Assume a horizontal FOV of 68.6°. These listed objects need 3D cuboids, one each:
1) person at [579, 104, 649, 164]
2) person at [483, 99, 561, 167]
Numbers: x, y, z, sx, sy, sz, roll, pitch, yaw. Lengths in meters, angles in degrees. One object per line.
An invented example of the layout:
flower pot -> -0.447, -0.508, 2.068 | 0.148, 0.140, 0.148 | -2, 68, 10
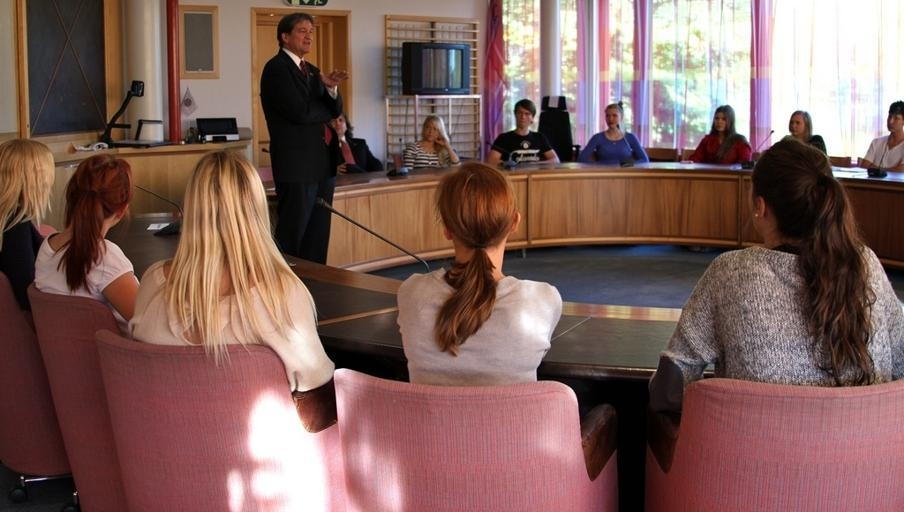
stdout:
person -> 1.813, -1.310, 7.495 | 0.716, 0.935, 0.505 | 1, 2, 21
person -> 0.792, -1.306, 7.322 | 0.869, 0.798, 0.511 | -2, 6, -13
